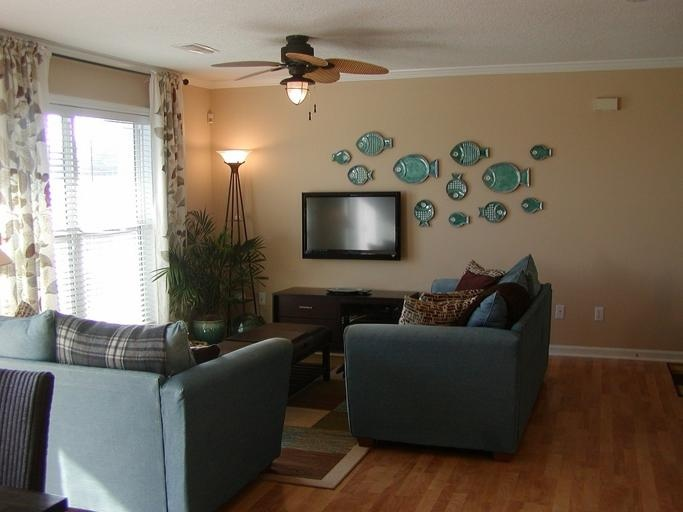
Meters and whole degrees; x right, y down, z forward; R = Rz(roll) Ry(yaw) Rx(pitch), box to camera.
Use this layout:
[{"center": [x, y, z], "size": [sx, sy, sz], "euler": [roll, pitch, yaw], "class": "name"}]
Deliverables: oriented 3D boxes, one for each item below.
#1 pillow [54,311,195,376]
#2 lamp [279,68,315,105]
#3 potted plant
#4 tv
[{"center": [-1.207, 0.468, 2.906], "size": [0.796, 0.292, 0.227], "euler": [1, 8, 17], "class": "pillow"}, {"center": [-0.362, -1.394, 4.489], "size": [0.277, 0.249, 0.273], "euler": [-1, 1, -4], "class": "lamp"}, {"center": [-1.408, 0.284, 6.346], "size": [1.250, 1.343, 1.170], "euler": [14, 4, -43], "class": "potted plant"}, {"center": [0.102, -0.360, 6.271], "size": [1.151, 0.777, 0.217], "euler": [2, 9, 24], "class": "tv"}]
